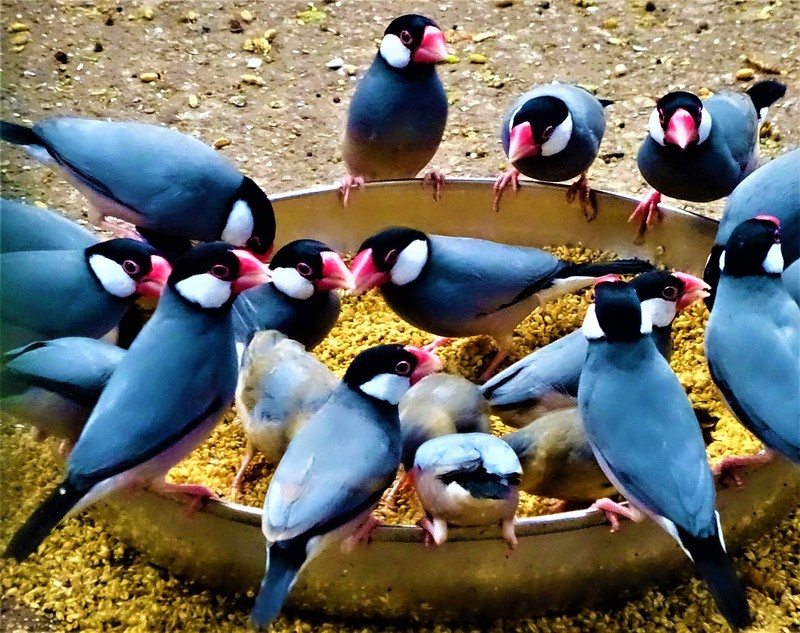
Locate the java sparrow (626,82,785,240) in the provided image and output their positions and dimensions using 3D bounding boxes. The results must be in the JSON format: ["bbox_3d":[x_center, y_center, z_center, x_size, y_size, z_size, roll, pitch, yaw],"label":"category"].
[{"bbox_3d":[0.790,-0.458,2.969,0.264,0.350,0.448,23,86,32],"label":"java sparrow"}]

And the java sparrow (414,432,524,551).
[{"bbox_3d":[0.149,0.355,2.339,0.234,0.365,0.182,2,81,-9],"label":"java sparrow"}]

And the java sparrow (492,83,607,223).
[{"bbox_3d":[0.410,-0.450,2.972,0.232,0.294,0.380,15,67,25],"label":"java sparrow"}]

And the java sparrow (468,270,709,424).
[{"bbox_3d":[0.454,0.098,2.555,0.593,0.316,0.183,-14,21,16],"label":"java sparrow"}]

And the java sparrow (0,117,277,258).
[{"bbox_3d":[-0.690,-0.317,2.929,0.705,0.259,0.208,31,36,-17],"label":"java sparrow"}]
